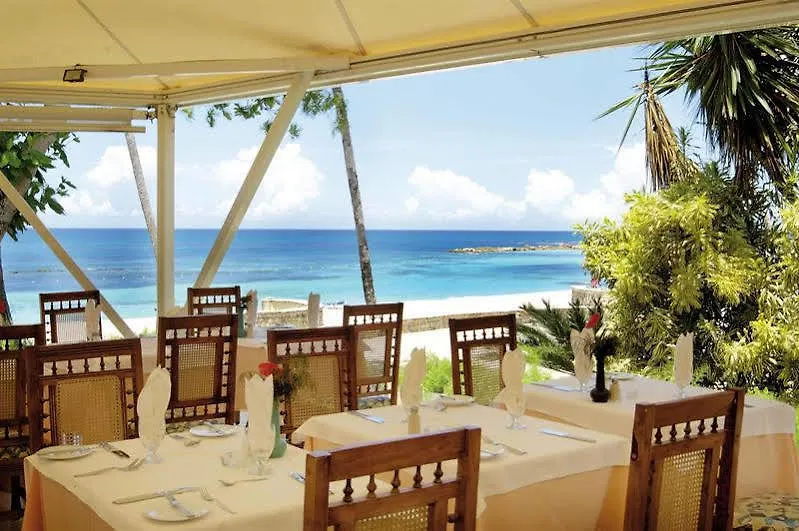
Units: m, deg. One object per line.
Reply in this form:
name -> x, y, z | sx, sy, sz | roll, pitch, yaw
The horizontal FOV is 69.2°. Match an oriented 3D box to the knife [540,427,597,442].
knife -> 0.922, 0.927, 3.185 | 0.083, 0.014, 0.302 | -3, 4, -31

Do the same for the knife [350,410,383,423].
knife -> -0.196, 0.907, 3.514 | 0.218, 0.037, 0.066 | 11, 7, 34

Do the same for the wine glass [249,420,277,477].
wine glass -> -0.655, 0.845, 2.763 | 0.118, 0.195, 0.204 | -3, -2, -14
